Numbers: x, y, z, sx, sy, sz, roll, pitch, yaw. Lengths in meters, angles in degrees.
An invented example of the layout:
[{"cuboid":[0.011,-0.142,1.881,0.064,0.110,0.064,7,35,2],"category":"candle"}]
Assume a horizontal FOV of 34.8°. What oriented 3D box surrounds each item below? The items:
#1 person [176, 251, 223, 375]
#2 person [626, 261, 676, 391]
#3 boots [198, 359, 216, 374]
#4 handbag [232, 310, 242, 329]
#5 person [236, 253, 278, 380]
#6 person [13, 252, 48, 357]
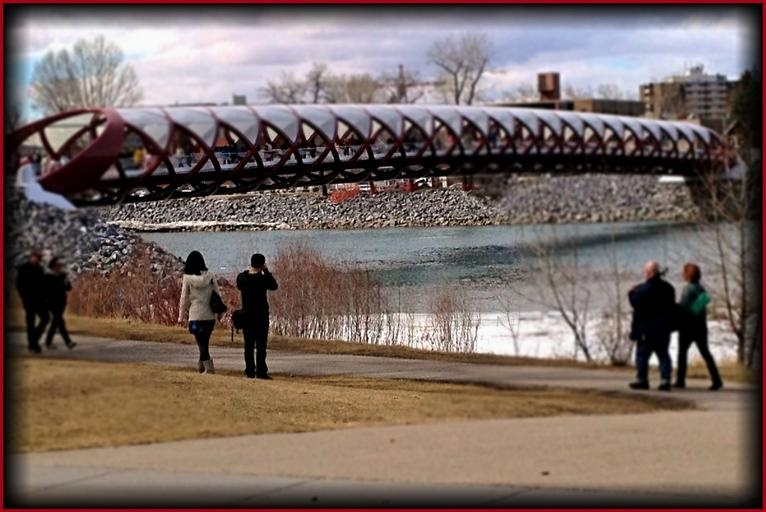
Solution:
[{"cuboid":[-3.694,1.157,24.874,0.873,1.680,0.695,-1,0,-9],"category":"person"},{"cuboid":[5.453,1.430,24.581,0.854,2.264,0.706,-1,0,18],"category":"person"},{"cuboid":[-3.620,2.279,25.185,0.333,0.330,0.231,-5,-4,43],"category":"boots"},{"cuboid":[-2.971,1.281,24.892,0.202,0.270,0.455,-1,0,-7],"category":"handbag"},{"cuboid":[-2.596,1.238,24.848,0.748,1.798,0.685,-1,0,-7],"category":"person"},{"cuboid":[-7.713,1.039,26.798,0.672,2.158,1.159,0,0,-17],"category":"person"}]
